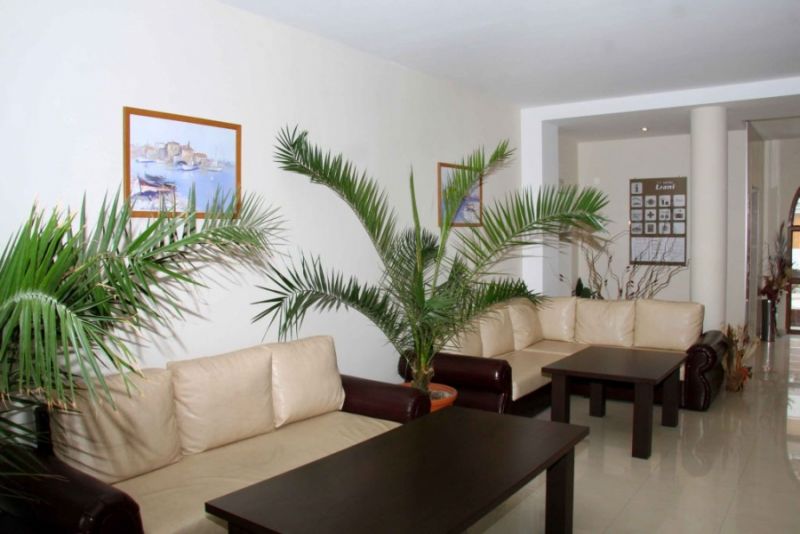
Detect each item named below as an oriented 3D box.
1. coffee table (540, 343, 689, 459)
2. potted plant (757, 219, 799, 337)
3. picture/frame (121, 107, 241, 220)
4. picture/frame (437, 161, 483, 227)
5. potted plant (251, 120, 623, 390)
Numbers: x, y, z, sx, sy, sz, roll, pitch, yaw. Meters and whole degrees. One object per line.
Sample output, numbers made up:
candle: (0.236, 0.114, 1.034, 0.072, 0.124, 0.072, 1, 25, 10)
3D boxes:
coffee table: (2.039, 1.101, 4.722, 0.868, 0.705, 1.164, -1, -3, 35)
potted plant: (6.075, 0.235, 8.223, 0.685, 1.893, 0.264, -1, 10, -13)
picture/frame: (-1.545, -0.712, 3.537, 0.033, 0.753, 0.927, 7, 6, 41)
picture/frame: (0.696, -0.810, 5.755, 0.035, 0.736, 0.829, -5, 8, -28)
potted plant: (0.145, -0.002, 4.681, 2.818, 1.778, 2.763, -3, 6, -37)
